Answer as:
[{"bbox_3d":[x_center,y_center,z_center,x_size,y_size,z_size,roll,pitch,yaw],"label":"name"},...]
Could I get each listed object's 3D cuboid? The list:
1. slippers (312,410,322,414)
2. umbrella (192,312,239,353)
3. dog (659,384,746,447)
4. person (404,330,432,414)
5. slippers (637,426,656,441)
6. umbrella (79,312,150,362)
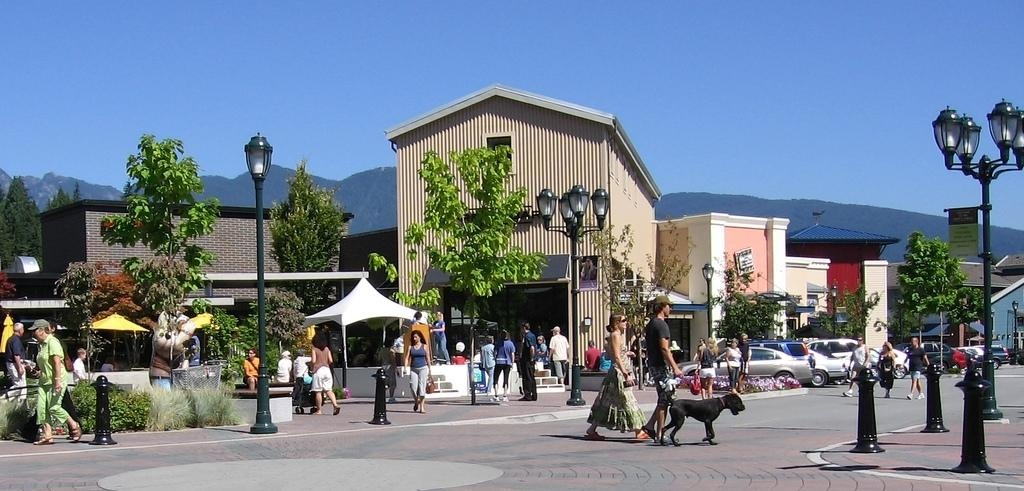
[{"bbox_3d":[-7.970,6.871,41.261,0.145,0.276,0.418,8,-17,-44],"label":"slippers"},{"bbox_3d":[-14.709,4.378,49.913,2.378,1.580,2.179,23,25,38],"label":"umbrella"},{"bbox_3d":[6.642,6.052,34.926,3.038,1.689,0.813,1,-5,-11],"label":"dog"},{"bbox_3d":[-3.944,5.291,42.023,0.841,3.356,1.318,-1,-8,-7],"label":"person"},{"bbox_3d":[4.724,6.649,35.171,0.882,0.338,0.316,3,7,-40],"label":"slippers"},{"bbox_3d":[-19.853,3.903,50.809,2.491,1.007,5.088,1,-9,-20],"label":"umbrella"}]
